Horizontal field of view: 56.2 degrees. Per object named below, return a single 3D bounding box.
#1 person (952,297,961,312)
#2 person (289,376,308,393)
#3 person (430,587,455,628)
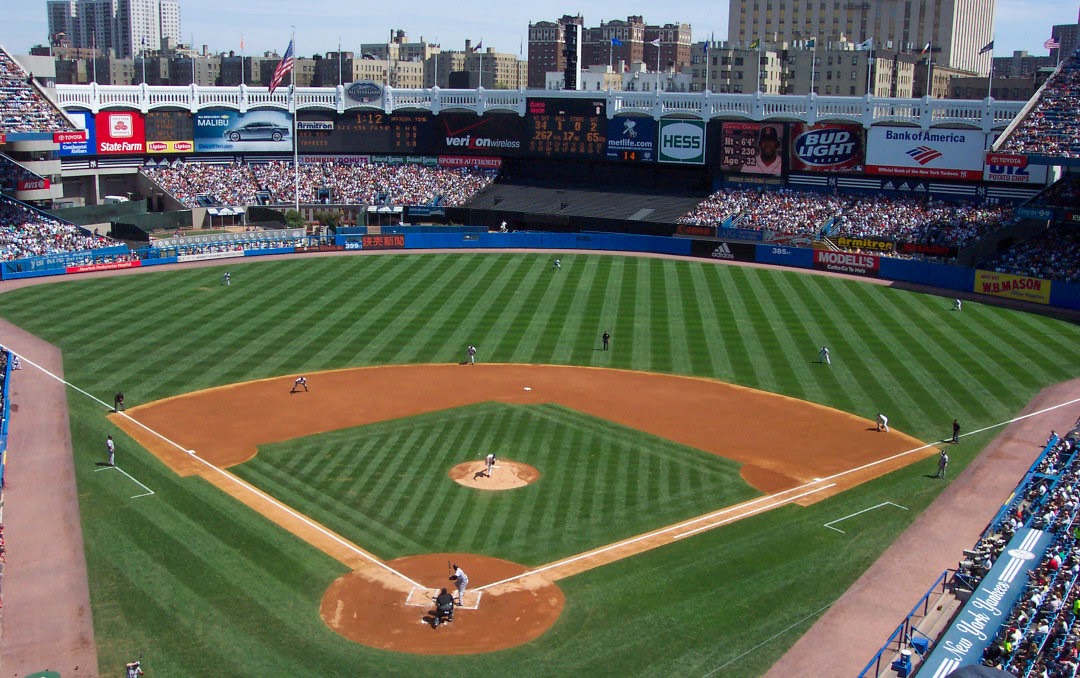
[{"bbox_3d":[36.969,-2.986,89.715,1.033,0.300,1.328,5,31,14],"label":"person"},{"bbox_3d":[-16.921,3.208,71.584,1.069,0.521,1.224,1,11,1],"label":"person"},{"bbox_3d":[-4.769,13.397,50.559,1.095,1.628,0.568,6,-1,8],"label":"person"}]
